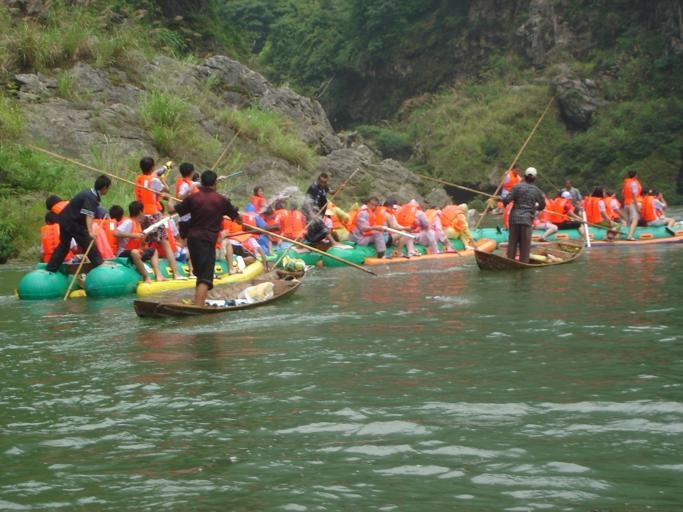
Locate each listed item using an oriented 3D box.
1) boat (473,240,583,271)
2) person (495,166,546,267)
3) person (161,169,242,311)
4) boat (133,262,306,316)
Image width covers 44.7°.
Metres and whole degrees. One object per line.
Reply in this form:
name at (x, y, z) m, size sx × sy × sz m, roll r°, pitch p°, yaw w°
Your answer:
boat at (4.210, 0.042, 17.913) m, size 0.928 × 0.386 × 2.704 m, roll 27°, pitch 20°, yaw 39°
person at (3.797, -0.863, 17.194) m, size 0.840 × 1.956 × 0.819 m, roll -5°, pitch -3°, yaw 9°
person at (-1.959, -0.212, 13.304) m, size 1.741 × 2.165 × 0.856 m, roll 9°, pitch 12°, yaw 15°
boat at (-1.808, 0.484, 14.627) m, size 2.281 × 0.537 × 0.372 m, roll -14°, pitch -6°, yaw -33°
